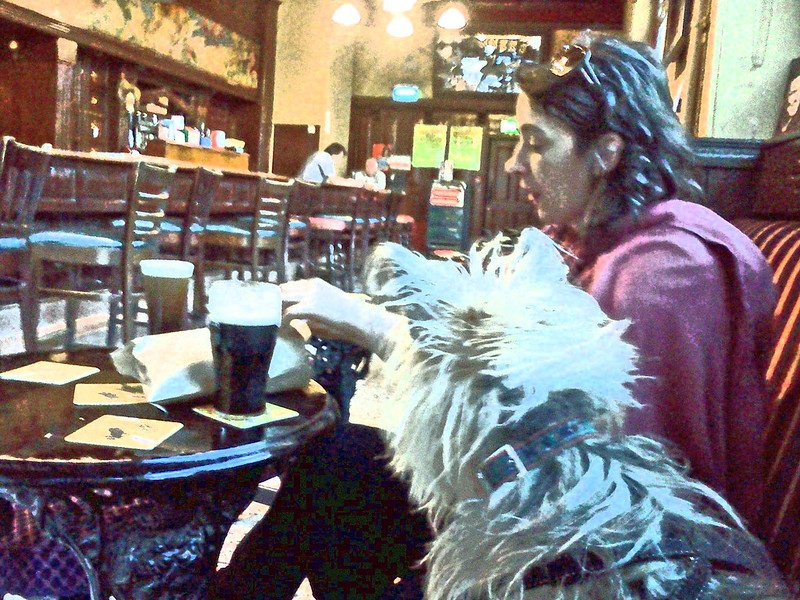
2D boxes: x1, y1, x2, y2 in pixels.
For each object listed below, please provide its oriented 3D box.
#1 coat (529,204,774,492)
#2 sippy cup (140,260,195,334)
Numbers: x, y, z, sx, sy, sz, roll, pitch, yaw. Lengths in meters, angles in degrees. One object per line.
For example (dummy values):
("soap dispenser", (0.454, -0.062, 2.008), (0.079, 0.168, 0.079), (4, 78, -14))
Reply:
("coat", (0.420, 0.070, 1.493), (0.404, 0.603, 0.577), (1, 7, 8))
("sippy cup", (-0.486, -0.001, 1.621), (0.099, 0.159, 0.169), (-1, 5, -18))
